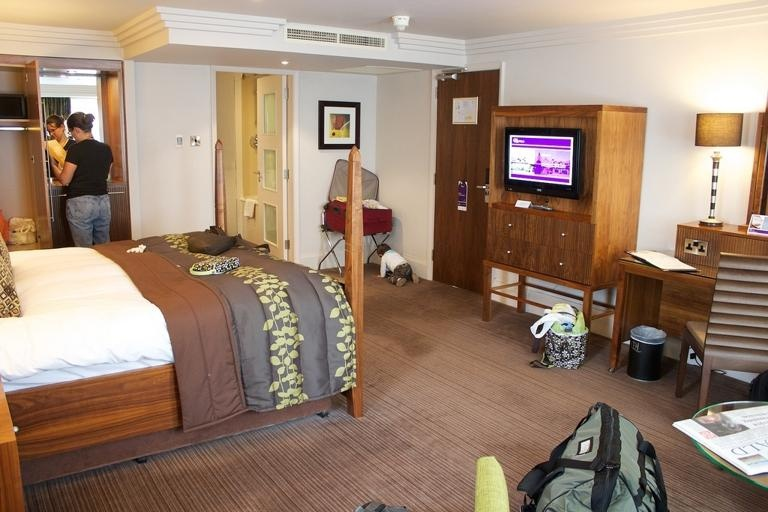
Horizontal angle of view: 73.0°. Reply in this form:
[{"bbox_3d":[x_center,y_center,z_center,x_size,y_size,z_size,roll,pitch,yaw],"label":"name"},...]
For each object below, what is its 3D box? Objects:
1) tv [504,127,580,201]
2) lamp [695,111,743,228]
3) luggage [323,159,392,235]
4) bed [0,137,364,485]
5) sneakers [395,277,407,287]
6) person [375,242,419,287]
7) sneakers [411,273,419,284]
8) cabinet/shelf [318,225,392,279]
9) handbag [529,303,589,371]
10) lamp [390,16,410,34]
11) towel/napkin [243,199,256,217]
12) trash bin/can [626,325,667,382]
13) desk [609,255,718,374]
[{"bbox_3d":[1.665,-0.983,5.389,0.782,0.579,0.084,11,18,40],"label":"tv"},{"bbox_3d":[2.859,-0.766,4.563,0.358,0.945,0.363,-12,18,-41],"label":"lamp"},{"bbox_3d":[-0.388,-0.850,7.363,0.820,0.970,0.942,-3,14,-17],"label":"luggage"},{"bbox_3d":[-1.833,0.213,4.453,2.219,1.911,2.293,-5,9,-28],"label":"bed"},{"bbox_3d":[0.224,0.340,6.982,0.144,0.101,0.097,-1,13,-4],"label":"sneakers"},{"bbox_3d":[0.140,0.104,7.314,0.433,0.374,0.896,-11,25,-30],"label":"person"},{"bbox_3d":[0.432,0.296,7.115,0.074,0.052,0.132,-4,38,2],"label":"sneakers"},{"bbox_3d":[-0.379,-0.210,7.598,0.958,0.859,0.753,-4,9,-30],"label":"cabinet/shelf"},{"bbox_3d":[1.659,0.761,5.103,0.613,0.575,0.515,1,5,44],"label":"handbag"},{"bbox_3d":[0.170,-2.289,5.154,0.146,0.102,0.143,-2,10,-7],"label":"lamp"},{"bbox_3d":[-2.144,-0.771,8.306,0.108,0.283,0.287,-3,8,-42],"label":"towel/napkin"},{"bbox_3d":[2.390,0.878,4.740,0.289,0.427,0.291,7,15,27],"label":"trash bin/can"},{"bbox_3d":[2.508,0.510,4.641,0.741,0.898,0.949,-2,11,-27],"label":"desk"}]
